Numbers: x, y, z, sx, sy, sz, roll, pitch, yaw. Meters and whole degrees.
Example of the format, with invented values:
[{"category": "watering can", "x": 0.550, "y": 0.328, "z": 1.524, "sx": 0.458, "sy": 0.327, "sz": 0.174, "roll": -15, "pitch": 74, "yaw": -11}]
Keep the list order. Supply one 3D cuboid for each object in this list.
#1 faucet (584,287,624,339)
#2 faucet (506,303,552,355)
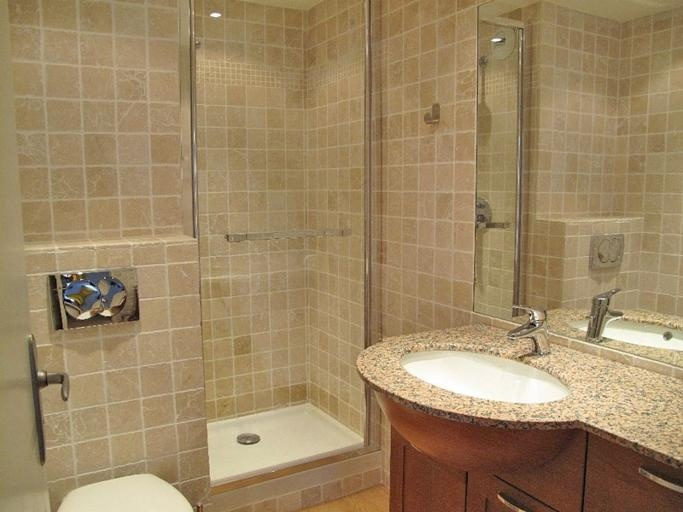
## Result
[{"category": "faucet", "x": 0.865, "y": 0.193, "z": 1.816, "sx": 0.107, "sy": 0.175, "sz": 0.095, "roll": -9, "pitch": 19, "yaw": -15}, {"category": "faucet", "x": 0.612, "y": 0.248, "z": 1.801, "sx": 0.195, "sy": 0.173, "sz": 0.064, "roll": -9, "pitch": 14, "yaw": -34}]
